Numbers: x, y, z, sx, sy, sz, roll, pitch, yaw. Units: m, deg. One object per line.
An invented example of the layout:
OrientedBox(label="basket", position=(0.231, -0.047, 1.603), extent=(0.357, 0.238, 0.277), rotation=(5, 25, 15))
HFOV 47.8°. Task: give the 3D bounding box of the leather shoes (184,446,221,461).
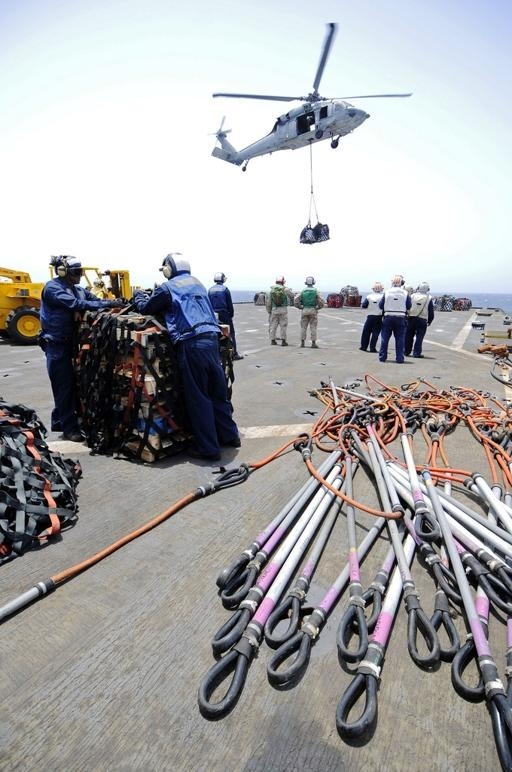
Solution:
OrientedBox(label="leather shoes", position=(-0.399, 0.499, 4.449), extent=(0.238, 0.123, 0.109), rotation=(-2, -1, 32))

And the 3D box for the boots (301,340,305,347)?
OrientedBox(label="boots", position=(0.983, -0.905, 12.138), extent=(0.079, 0.187, 0.176), rotation=(0, -2, -3))

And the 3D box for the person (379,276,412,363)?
OrientedBox(label="person", position=(2.337, -1.123, 9.774), extent=(0.530, 1.436, 1.383), rotation=(0, 9, 14))

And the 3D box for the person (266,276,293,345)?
OrientedBox(label="person", position=(0.487, -1.529, 12.071), extent=(0.468, 1.381, 1.522), rotation=(-2, 8, 3))

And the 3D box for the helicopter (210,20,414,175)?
OrientedBox(label="helicopter", position=(1.143, -9.087, 19.363), extent=(6.211, 3.038, 5.458), rotation=(-7, 9, 36))

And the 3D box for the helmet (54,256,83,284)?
OrientedBox(label="helmet", position=(-1.567, -0.993, 4.889), extent=(0.227, 0.241, 0.323), rotation=(-6, 8, -20))

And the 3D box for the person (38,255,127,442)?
OrientedBox(label="person", position=(-1.538, -0.334, 4.953), extent=(0.503, 1.576, 0.449), rotation=(-10, 14, -35))

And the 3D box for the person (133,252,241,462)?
OrientedBox(label="person", position=(-0.501, -0.242, 4.490), extent=(0.566, 1.603, 0.573), rotation=(2, 12, 22))

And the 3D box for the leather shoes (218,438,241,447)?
OrientedBox(label="leather shoes", position=(-0.219, 0.461, 4.744), extent=(0.188, 0.097, 0.068), rotation=(-6, 7, 17))
